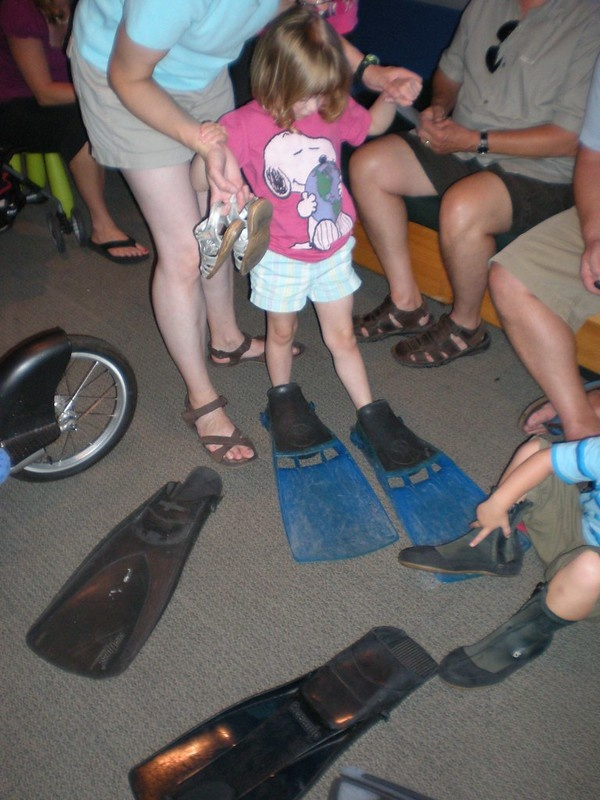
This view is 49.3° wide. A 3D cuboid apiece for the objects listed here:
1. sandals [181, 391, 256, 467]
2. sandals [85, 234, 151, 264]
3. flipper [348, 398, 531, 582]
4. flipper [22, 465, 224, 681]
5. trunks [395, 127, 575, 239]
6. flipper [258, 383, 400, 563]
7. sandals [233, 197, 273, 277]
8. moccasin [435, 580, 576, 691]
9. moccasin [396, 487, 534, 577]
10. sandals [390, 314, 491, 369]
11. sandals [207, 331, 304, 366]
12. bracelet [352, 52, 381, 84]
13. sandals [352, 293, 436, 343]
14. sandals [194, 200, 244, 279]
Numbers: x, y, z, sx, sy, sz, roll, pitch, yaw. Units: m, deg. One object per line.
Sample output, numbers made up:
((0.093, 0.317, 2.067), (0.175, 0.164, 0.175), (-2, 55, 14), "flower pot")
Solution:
((-0.214, 0.097, 1.723), (0.114, 0.110, 0.262), (-37, 76, -12), "sandals")
((-0.693, -0.573, 2.459), (0.197, 0.050, 0.104), (20, 52, 15), "sandals")
((0.319, 0.241, 1.641), (0.250, 0.081, 0.562), (-26, 51, -18), "flipper")
((-0.374, 0.383, 1.508), (0.214, 0.083, 0.497), (27, 48, 16), "flipper")
((0.521, -0.543, 1.839), (0.337, 0.125, 0.337), (11, 22, -24), "trunks")
((0.023, 0.135, 1.755), (0.248, 0.087, 0.674), (-12, 51, -11), "flipper")
((-0.106, -0.323, 1.295), (0.061, 0.145, 0.058), (-31, 68, -37), "sandals")
((0.380, 0.503, 1.383), (0.374, 0.141, 0.120), (-25, 43, 1), "moccasin")
((0.389, 0.303, 1.537), (0.340, 0.208, 0.129), (5, 18, -4), "moccasin")
((0.427, -0.156, 2.020), (0.324, 0.143, 0.124), (-13, 65, 10), "sandals")
((-0.128, -0.138, 2.038), (0.301, 0.076, 0.103), (-7, 44, -5), "sandals")
((0.153, -0.762, 1.487), (0.041, 0.067, 0.029), (14, 31, -23), "bracelet")
((0.286, -0.247, 2.076), (0.305, 0.132, 0.106), (-5, 75, 10), "sandals")
((-0.163, -0.300, 1.268), (0.073, 0.169, 0.059), (31, 57, 7), "sandals")
